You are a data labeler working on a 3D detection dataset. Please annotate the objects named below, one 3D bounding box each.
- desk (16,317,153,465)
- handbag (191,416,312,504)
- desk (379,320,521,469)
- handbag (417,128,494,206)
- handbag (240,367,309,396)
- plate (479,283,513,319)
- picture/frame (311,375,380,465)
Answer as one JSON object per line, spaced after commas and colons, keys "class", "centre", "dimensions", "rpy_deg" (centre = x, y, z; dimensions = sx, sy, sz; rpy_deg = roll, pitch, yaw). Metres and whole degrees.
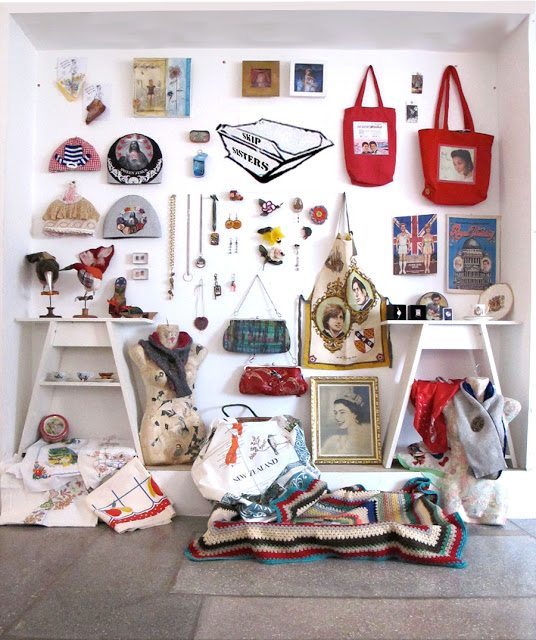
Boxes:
{"class": "desk", "centre": [-1.061, 0.506, 3.520], "dimensions": [0.627, 0.689, 0.237], "rpy_deg": [-8, 44, -22]}
{"class": "handbag", "centre": [-0.083, 0.654, 2.910], "dimensions": [0.457, 0.154, 0.452], "rpy_deg": [6, 20, 28]}
{"class": "desk", "centre": [0.988, 0.328, 3.296], "dimensions": [0.646, 0.720, 0.341], "rpy_deg": [-5, 13, 4]}
{"class": "handbag", "centre": [1.055, -0.860, 3.395], "dimensions": [0.449, 0.437, 0.141], "rpy_deg": [1, 2, -1]}
{"class": "handbag", "centre": [0.028, 0.340, 3.329], "dimensions": [0.363, 0.149, 0.157], "rpy_deg": [0, 8, 3]}
{"class": "plate", "centre": [1.261, -0.096, 3.321], "dimensions": [0.025, 0.188, 0.169], "rpy_deg": [15, 3, -36]}
{"class": "picture/frame", "centre": [0.423, 0.571, 3.308], "dimensions": [0.464, 0.565, 0.043], "rpy_deg": [0, -12, -2]}
